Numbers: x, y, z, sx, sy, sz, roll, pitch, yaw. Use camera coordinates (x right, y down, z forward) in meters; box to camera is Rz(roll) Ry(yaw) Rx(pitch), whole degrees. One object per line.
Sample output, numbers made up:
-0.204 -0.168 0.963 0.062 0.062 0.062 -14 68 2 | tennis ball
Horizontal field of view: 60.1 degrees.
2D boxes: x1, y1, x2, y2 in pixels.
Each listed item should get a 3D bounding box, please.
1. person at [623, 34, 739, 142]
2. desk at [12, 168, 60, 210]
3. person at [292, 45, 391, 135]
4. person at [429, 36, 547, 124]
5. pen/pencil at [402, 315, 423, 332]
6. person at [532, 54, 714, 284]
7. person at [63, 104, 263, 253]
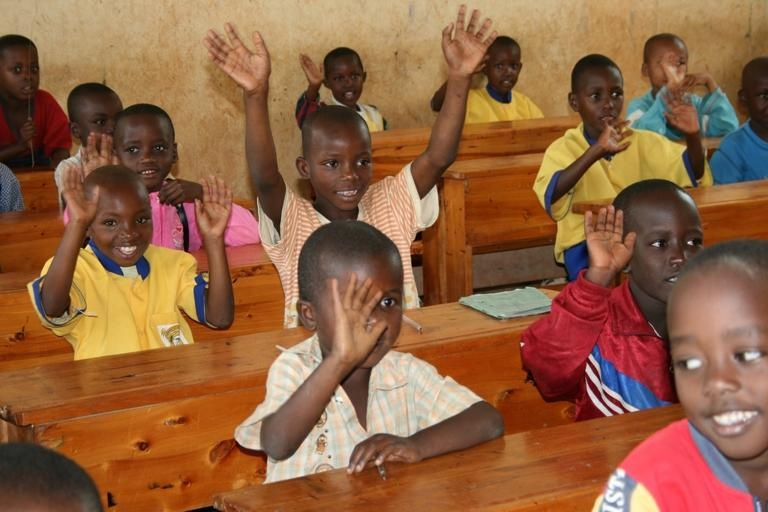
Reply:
2.333 -1.338 5.250 0.743 0.882 0.854 -17 14 -42 | person
-2.363 -0.439 4.501 0.355 0.309 0.181 -7 12 -20 | desk
-0.398 -1.411 5.877 1.107 0.724 0.527 -10 15 -38 | person
1.101 -1.597 6.259 1.285 0.842 0.534 -3 14 -19 | person
0.092 0.222 2.145 0.025 0.029 0.114 -24 31 -13 | pen/pencil
1.222 -0.287 3.604 0.930 1.444 0.784 -12 15 -28 | person
-1.158 -0.410 3.518 1.246 0.777 0.554 12 20 10 | person
